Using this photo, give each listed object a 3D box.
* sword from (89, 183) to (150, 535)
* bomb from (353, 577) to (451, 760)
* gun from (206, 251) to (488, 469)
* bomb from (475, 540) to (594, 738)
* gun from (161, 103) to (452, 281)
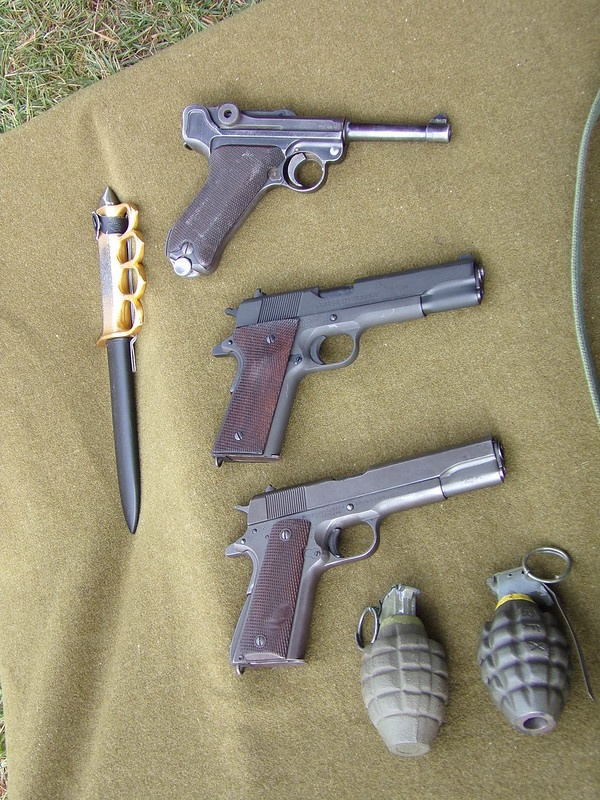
[{"bbox_3d":[-0.543,-0.118,2.506,0.165,1.015,0.122,-1,-1,3],"label":"sword"},{"bbox_3d":[0.261,0.678,2.038,0.217,0.406,0.228,10,-49,-6],"label":"bomb"},{"bbox_3d":[0.128,-0.088,2.279,0.837,0.494,0.114,-7,-9,26],"label":"gun"},{"bbox_3d":[0.533,0.564,1.955,0.215,0.411,0.250,-20,-19,36],"label":"bomb"},{"bbox_3d":[0.032,-0.594,2.418,0.815,0.492,0.098,5,5,3],"label":"gun"}]
